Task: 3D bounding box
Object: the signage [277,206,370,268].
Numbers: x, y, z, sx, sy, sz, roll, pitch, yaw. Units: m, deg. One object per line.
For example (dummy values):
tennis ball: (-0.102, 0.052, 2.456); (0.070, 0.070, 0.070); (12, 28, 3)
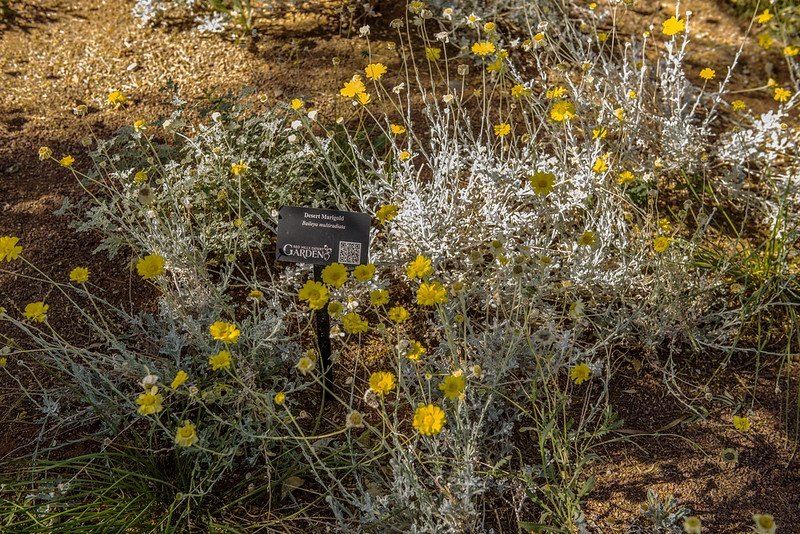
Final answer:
signage: (-0.393, -0.143, 3.303); (0.466, 0.200, 0.251); (5, 61, 0)
